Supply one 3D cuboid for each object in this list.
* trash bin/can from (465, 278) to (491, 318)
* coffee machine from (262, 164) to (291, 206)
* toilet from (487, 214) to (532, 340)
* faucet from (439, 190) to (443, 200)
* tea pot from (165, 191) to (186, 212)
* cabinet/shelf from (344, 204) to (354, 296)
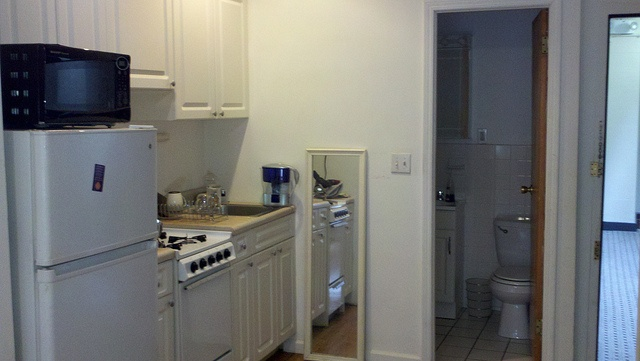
[{"bbox_3d":[1.797,1.311,5.467,0.379,0.376,0.361,1,5,25],"label":"trash bin/can"},{"bbox_3d":[-0.422,0.046,4.613,0.356,0.411,0.254,1,2,5],"label":"coffee machine"},{"bbox_3d":[2.042,1.004,5.113,0.400,1.190,0.567,3,9,20],"label":"toilet"},{"bbox_3d":[1.374,0.160,5.425,0.064,0.090,0.082,2,8,12],"label":"faucet"},{"bbox_3d":[-1.228,0.179,4.167,0.183,0.163,0.132,3,-2,-5],"label":"tea pot"},{"bbox_3d":[0.293,0.652,4.437,0.089,0.955,0.116,1,8,4],"label":"cabinet/shelf"}]
